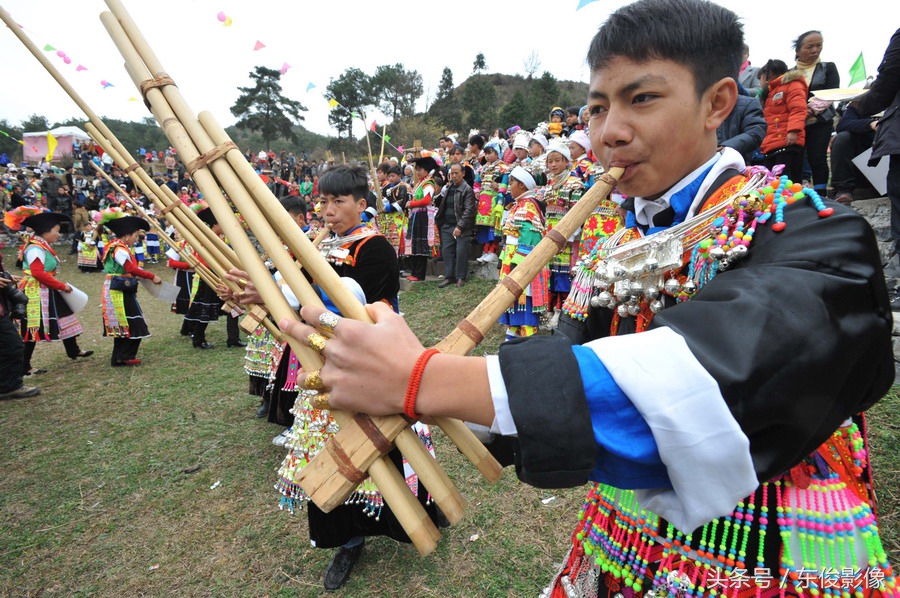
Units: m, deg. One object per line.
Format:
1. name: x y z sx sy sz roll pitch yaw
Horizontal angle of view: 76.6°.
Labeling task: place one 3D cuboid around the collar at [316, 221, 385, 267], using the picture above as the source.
1. collar: -0.671 -0.326 3.812 0.474 0.181 0.340 -1 50 15

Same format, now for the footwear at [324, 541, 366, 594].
1. footwear: -0.613 1.553 3.300 0.115 0.122 0.332 32 46 6

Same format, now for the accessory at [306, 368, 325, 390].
1. accessory: -0.418 0.246 1.796 0.036 0.050 0.066 -34 10 -32

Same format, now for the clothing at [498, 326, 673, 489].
1. clothing: 0.352 0.327 1.608 0.447 0.426 0.202 0 12 8

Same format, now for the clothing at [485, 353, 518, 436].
1. clothing: 0.148 0.293 1.707 0.127 0.194 0.152 2 -7 5

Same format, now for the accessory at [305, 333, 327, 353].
1. accessory: -0.406 0.134 1.764 0.025 0.046 0.078 10 -6 -40

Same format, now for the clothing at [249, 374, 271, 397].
1. clothing: -1.659 0.763 5.078 0.260 0.257 0.047 3 6 3

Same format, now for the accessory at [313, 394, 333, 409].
1. accessory: -0.393 0.320 1.794 0.052 0.043 0.018 -11 32 25
